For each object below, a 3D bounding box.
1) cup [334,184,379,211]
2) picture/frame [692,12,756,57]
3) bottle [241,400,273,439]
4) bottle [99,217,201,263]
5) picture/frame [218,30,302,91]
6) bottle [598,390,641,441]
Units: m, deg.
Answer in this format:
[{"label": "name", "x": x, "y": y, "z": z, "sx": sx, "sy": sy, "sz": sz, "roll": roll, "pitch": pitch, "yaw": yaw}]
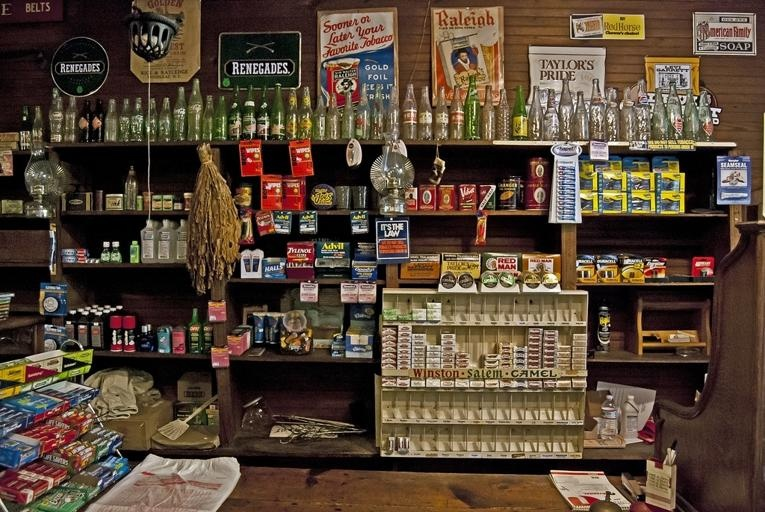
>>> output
[{"label": "cup", "x": -0.201, "y": -0.445, "z": 6.233, "sx": 0.344, "sy": 0.174, "sz": 0.125, "roll": 1, "pitch": 4, "yaw": 4}, {"label": "picture/frame", "x": 2.724, "y": -1.786, "z": 6.464, "sx": 0.396, "sy": 0.248, "sz": 0.052, "roll": 0, "pitch": 5, "yaw": -2}, {"label": "bottle", "x": -0.964, "y": 1.293, "z": 6.490, "sx": 0.298, "sy": 0.263, "sz": 0.285, "roll": 0, "pitch": -5, "yaw": -17}, {"label": "bottle", "x": -1.796, "y": -0.116, "z": 6.317, "sx": 0.750, "sy": 0.340, "sz": 0.281, "roll": 2, "pitch": 4, "yaw": 13}, {"label": "picture/frame", "x": -0.956, "y": -1.551, "z": 6.492, "sx": 0.581, "sy": 0.361, "sz": 0.019, "roll": 0, "pitch": 1, "yaw": 3}, {"label": "bottle", "x": 1.833, "y": 1.251, "z": 6.264, "sx": 0.392, "sy": 0.458, "sz": 0.199, "roll": 1, "pitch": -3, "yaw": -6}]
